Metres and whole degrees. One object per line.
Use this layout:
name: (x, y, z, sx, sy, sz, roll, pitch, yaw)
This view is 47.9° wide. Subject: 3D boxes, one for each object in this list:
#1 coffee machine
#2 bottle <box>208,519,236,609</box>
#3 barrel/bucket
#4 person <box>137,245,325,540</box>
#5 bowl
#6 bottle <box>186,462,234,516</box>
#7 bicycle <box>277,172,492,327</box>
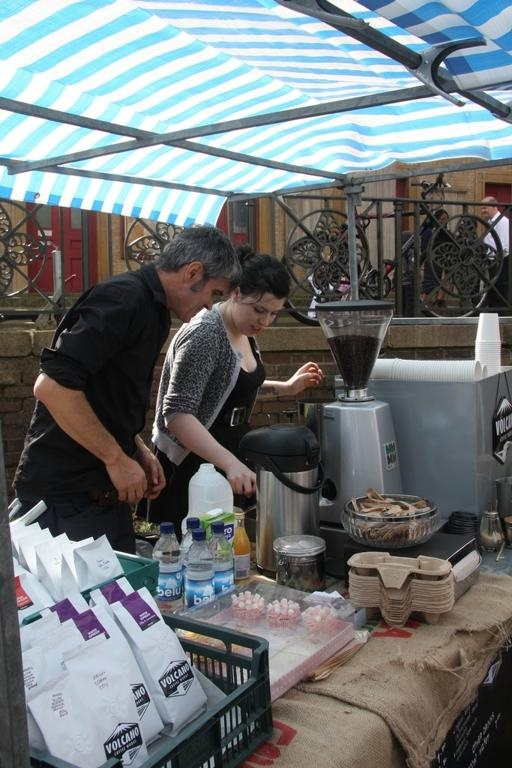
coffee machine: (0.364, 0.124, 2.140, 0.397, 0.831, 0.359, -3, -16, 16)
bottle: (-0.069, 0.487, 1.503, 0.078, 0.205, 0.074, -2, -18, -1)
barrel/bucket: (-0.131, 0.346, 1.741, 0.162, 0.207, 0.173, 2, 11, 0)
person: (-0.150, 0.121, 2.766, 0.782, 1.416, 0.785, 2, 5, 15)
bowl: (0.414, 0.403, 1.721, 0.247, 0.124, 0.308, -1, 6, 39)
bottle: (-0.138, 0.315, 1.805, 0.157, 0.154, 0.183, 9, 11, 37)
bicycle: (1.630, -1.600, 6.781, 2.595, 1.510, 1.227, 0, -8, -5)
